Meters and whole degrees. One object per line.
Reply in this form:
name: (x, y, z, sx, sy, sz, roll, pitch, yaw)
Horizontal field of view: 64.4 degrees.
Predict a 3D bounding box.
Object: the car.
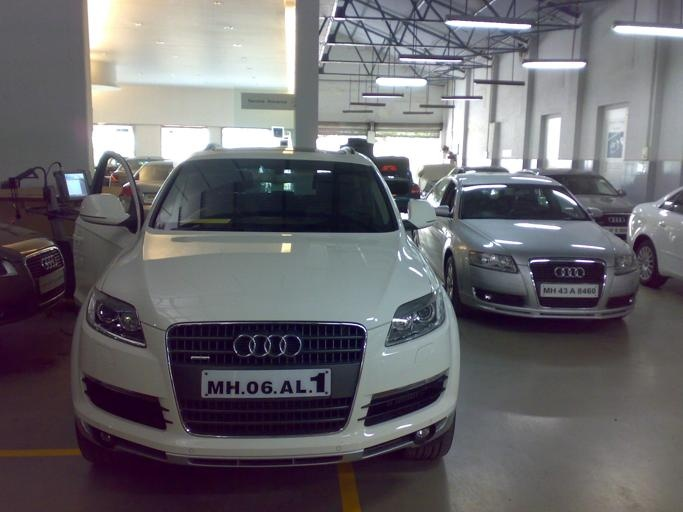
car: (0.077, 0.360, 3.904, 2.118, 1.126, 2.965, 0, 5, -1)
